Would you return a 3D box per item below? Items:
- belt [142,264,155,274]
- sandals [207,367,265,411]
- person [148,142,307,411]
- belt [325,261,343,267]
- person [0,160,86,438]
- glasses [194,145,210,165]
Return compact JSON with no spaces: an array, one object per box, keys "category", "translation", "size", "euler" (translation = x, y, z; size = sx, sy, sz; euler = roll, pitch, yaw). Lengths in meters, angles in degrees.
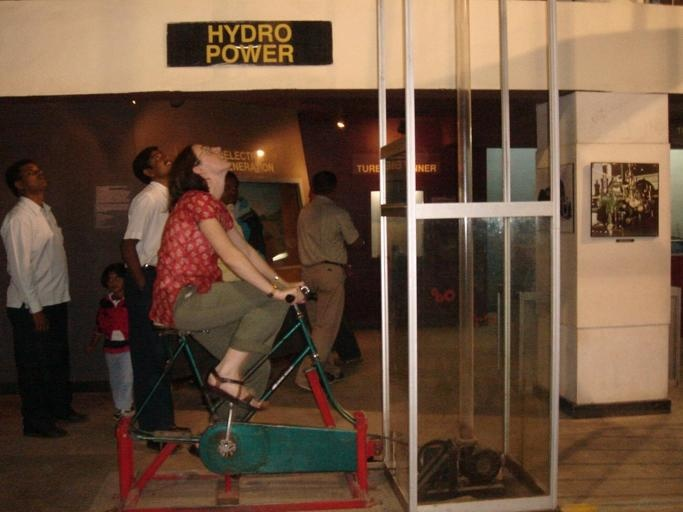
[{"category":"belt","translation":[-1.406,0.101,5.851],"size":[0.057,0.046,0.057],"euler":[-3,4,-32]},{"category":"sandals","translation":[-0.666,0.847,5.035],"size":[0.428,0.174,0.146],"euler":[31,5,-14]},{"category":"person","translation":[-0.747,0.141,5.060],"size":[0.920,1.627,0.510],"euler":[0,10,3]},{"category":"belt","translation":[-0.071,0.078,7.419],"size":[0.162,0.062,0.031],"euler":[-3,10,-14]},{"category":"person","translation":[-2.329,0.316,6.235],"size":[0.517,2.057,0.693],"euler":[-5,11,-22]},{"category":"glasses","translation":[-0.897,-0.632,5.094],"size":[0.055,0.111,0.104],"euler":[-12,14,-14]}]
